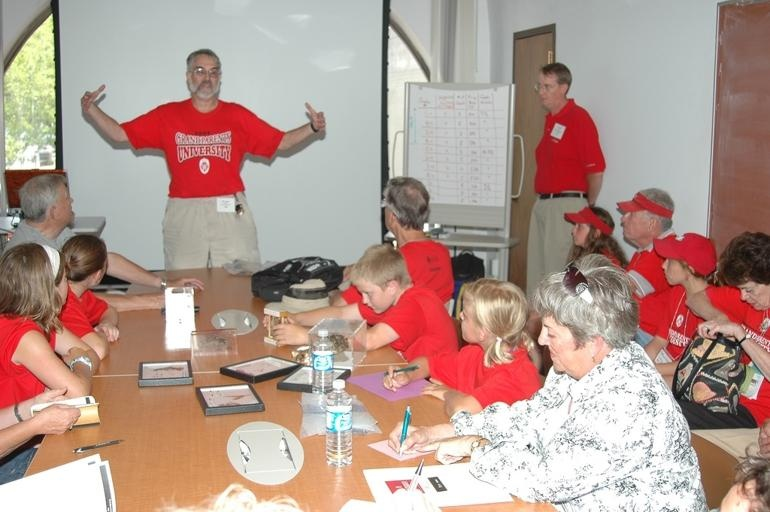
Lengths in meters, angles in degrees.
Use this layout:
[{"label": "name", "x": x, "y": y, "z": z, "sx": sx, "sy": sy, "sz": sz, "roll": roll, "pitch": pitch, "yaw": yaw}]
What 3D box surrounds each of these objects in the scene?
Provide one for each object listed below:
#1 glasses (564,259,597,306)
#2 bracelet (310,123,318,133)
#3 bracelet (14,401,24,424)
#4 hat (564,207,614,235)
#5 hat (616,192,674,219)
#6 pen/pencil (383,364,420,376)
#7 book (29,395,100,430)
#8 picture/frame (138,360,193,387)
[{"label": "glasses", "x": 0.702, "y": 0.087, "z": 1.983, "sx": 0.032, "sy": 0.111, "sz": 0.111, "roll": -32, "pitch": 37, "yaw": -10}, {"label": "bracelet", "x": -0.608, "y": -1.095, "z": 4.691, "sx": 0.062, "sy": 0.067, "sz": 0.157, "roll": -3, "pitch": 6, "yaw": -6}, {"label": "bracelet", "x": -1.591, "y": 0.672, "z": 2.383, "sx": 0.017, "sy": 0.067, "sz": 0.069, "roll": -7, "pitch": 1, "yaw": -12}, {"label": "hat", "x": 1.669, "y": -0.301, "z": 4.496, "sx": 0.354, "sy": 0.127, "sz": 0.233, "roll": 17, "pitch": 6, "yaw": 3}, {"label": "hat", "x": 1.931, "y": -0.368, "z": 4.115, "sx": 0.336, "sy": 0.113, "sz": 0.219, "roll": 16, "pitch": 4, "yaw": 12}, {"label": "pen/pencil", "x": 0.082, "y": 0.543, "z": 2.664, "sx": 0.127, "sy": 0.018, "sz": 0.018, "roll": -13, "pitch": 10, "yaw": -30}, {"label": "book", "x": -1.264, "y": 0.606, "z": 2.214, "sx": 0.157, "sy": 0.038, "sz": 0.163, "roll": 1, "pitch": 3, "yaw": -24}, {"label": "picture/frame", "x": -1.048, "y": 0.547, "z": 2.603, "sx": 0.148, "sy": 0.030, "sz": 0.138, "roll": 0, "pitch": 14, "yaw": -10}]
